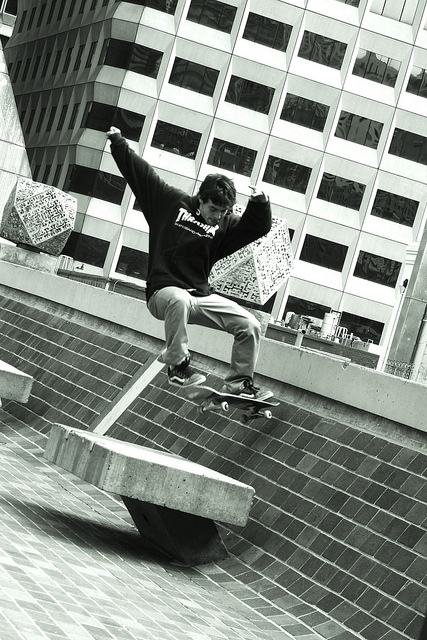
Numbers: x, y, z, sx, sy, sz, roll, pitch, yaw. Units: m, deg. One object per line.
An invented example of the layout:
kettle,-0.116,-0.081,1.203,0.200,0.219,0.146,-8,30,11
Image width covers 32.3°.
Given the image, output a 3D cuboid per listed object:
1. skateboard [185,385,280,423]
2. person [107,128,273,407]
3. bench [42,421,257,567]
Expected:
skateboard,0.173,0.666,5.966,0.831,0.165,0.323,19,-27,-37
person,-0.146,-0.406,5.782,1.517,1.960,1.098,6,-6,14
bench,-0.404,1.252,5.207,1.370,0.922,0.975,24,-2,-26
